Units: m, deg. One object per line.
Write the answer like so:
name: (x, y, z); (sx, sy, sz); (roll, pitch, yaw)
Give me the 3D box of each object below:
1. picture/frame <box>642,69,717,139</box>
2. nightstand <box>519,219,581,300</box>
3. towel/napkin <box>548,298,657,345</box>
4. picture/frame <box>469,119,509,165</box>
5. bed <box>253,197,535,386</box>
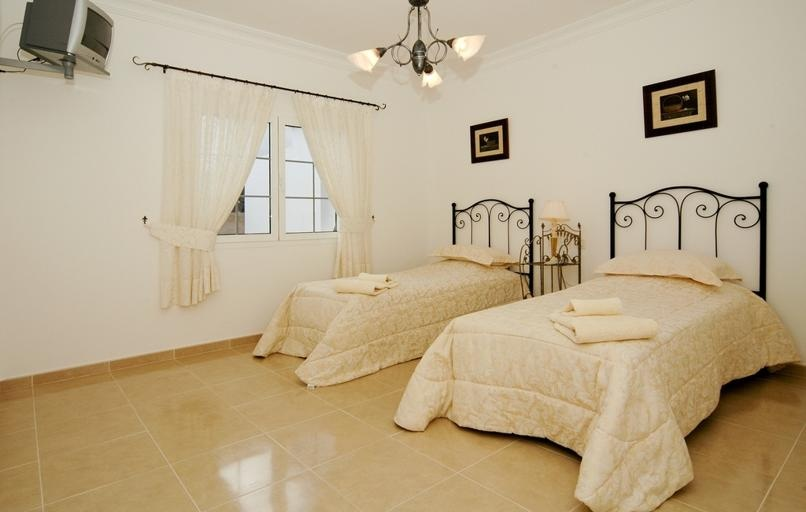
picture/frame: (2.800, -1.540, 4.877); (0.751, 0.692, 0.056); (1, 6, 38)
nightstand: (1.867, 0.060, 5.752); (0.516, 0.774, 0.407); (11, -22, -38)
towel/napkin: (1.478, 0.476, 3.660); (0.711, 0.292, 0.474); (2, 5, 1)
picture/frame: (1.127, -1.486, 6.238); (0.604, 0.605, 0.047); (4, 7, 43)
bed: (-0.064, 0.219, 5.759); (3.090, 1.876, 1.680); (-3, 4, -39)
